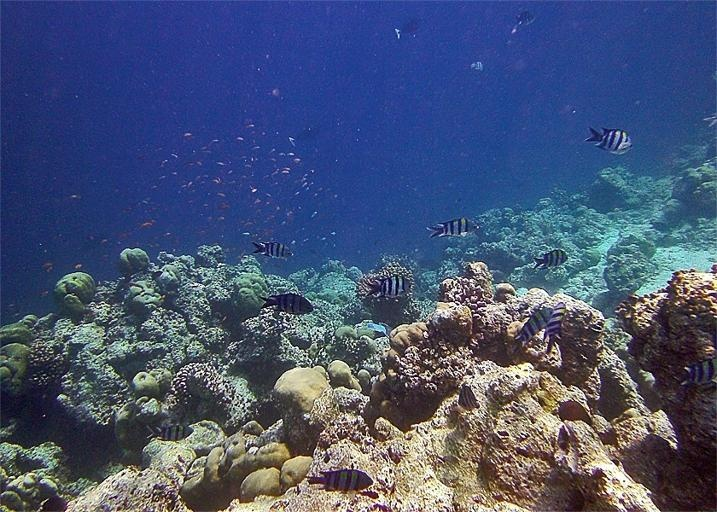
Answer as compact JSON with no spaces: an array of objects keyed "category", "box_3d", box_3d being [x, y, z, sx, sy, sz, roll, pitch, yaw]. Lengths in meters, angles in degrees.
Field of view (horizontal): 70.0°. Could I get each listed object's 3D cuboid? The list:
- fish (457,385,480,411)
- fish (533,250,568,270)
[{"category":"fish","box_3d":[2.437,3.215,11.554,0.124,0.502,0.460,10,-11,-31]},{"category":"fish","box_3d":[5.061,0.051,13.714,0.823,0.447,0.526,-10,-13,-9]}]
